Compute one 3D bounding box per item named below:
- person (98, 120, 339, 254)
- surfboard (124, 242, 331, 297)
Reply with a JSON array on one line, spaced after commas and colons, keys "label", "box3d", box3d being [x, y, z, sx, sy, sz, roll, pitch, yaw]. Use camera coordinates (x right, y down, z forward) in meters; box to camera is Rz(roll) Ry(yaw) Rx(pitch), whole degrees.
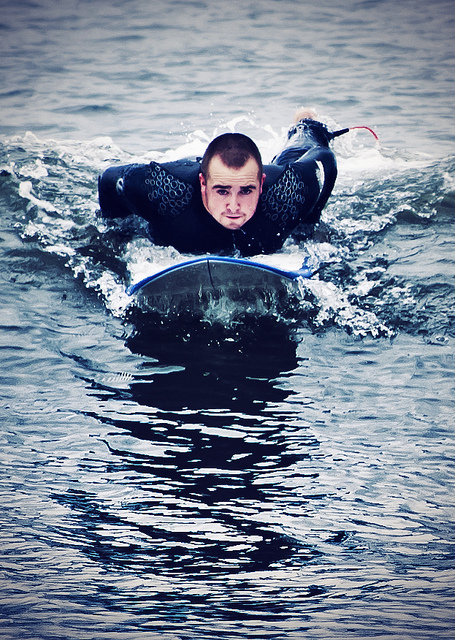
[{"label": "person", "box3d": [-0.036, -0.747, 6.721, 0.969, 0.483, 1.269, 1, 30, 3]}, {"label": "surfboard", "box3d": [-0.083, -0.259, 6.878, 1.027, 0.225, 1.650, -3, 2, -3]}]
